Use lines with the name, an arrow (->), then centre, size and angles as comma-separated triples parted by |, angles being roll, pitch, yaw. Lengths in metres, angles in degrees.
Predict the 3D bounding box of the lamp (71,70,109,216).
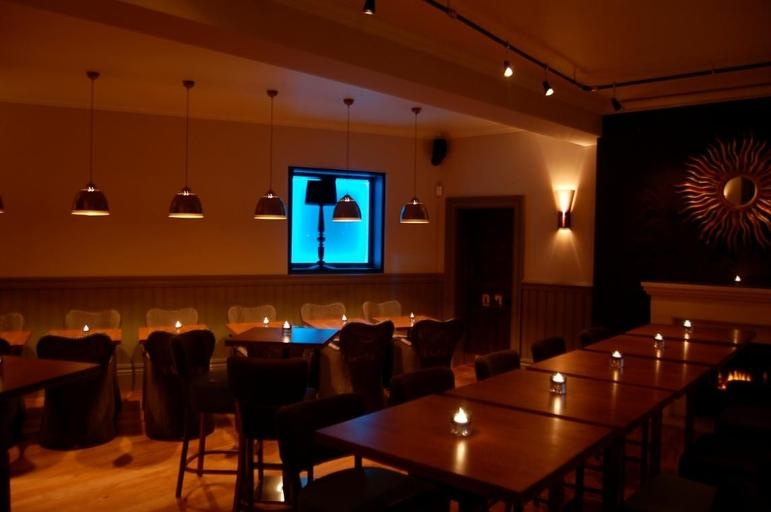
lamp -> -3.653, -1.305, 7.815 | 0.431, 1.872, 1.625 | -6, 15, -24

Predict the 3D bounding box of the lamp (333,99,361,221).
lamp -> -0.518, -1.324, 8.776 | 0.423, 1.652, 0.409 | -2, 5, -39

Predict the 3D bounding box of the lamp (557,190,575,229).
lamp -> 2.587, -0.661, 9.089 | 0.246, 0.567, 0.145 | 4, 14, 18
